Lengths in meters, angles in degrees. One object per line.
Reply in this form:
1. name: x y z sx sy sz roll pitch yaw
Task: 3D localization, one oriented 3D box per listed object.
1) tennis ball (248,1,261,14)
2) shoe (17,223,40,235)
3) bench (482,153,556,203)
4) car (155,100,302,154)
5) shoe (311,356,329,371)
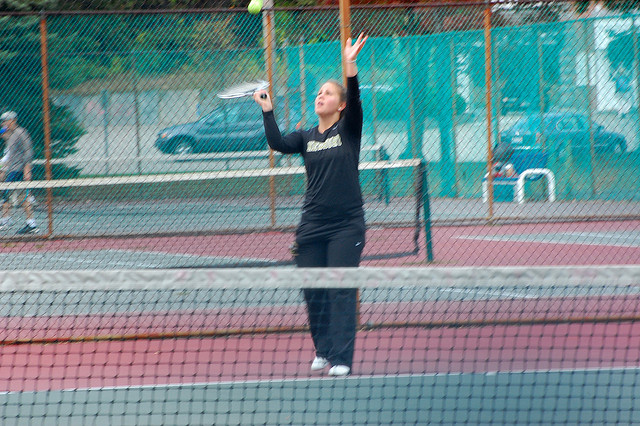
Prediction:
1. tennis ball: -0.795 -2.566 15.787 0.141 0.171 0.146 5 -9 1
2. shoe: -4.108 0.246 17.788 0.273 0.129 0.231 -4 18 2
3. bench: 2.899 -0.575 18.197 0.795 0.708 0.877 2 -4 -33
4. car: -1.249 -1.243 17.163 1.751 0.625 0.837 0 -1 -3
5. shoe: 0.007 1.703 14.299 0.131 0.156 0.173 6 -22 -1
